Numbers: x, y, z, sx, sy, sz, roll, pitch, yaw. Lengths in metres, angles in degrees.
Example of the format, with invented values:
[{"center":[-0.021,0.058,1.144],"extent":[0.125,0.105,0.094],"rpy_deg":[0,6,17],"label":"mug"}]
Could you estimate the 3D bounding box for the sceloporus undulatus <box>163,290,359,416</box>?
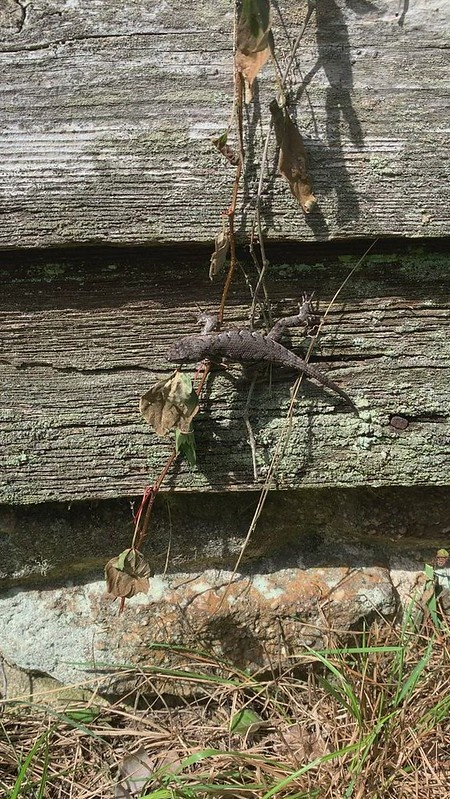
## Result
[{"center":[0.080,-0.166,2.852],"extent":[0.457,0.352,0.153],"rpy_deg":[-5,-3,12],"label":"sceloporus undulatus"}]
